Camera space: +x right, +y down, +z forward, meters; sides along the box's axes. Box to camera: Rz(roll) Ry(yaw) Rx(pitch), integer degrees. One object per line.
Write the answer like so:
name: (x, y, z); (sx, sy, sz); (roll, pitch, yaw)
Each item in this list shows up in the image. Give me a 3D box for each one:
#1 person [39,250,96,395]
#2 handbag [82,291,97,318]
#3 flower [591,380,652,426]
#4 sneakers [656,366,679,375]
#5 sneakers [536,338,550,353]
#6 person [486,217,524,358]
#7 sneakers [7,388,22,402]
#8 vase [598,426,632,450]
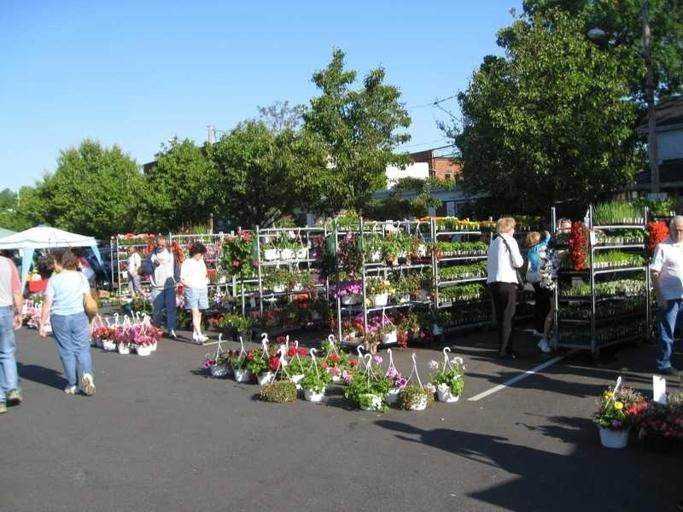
person: (-4.489, 1.071, 10.483); (0.852, 2.409, 0.838); (-5, 7, -28)
handbag: (-4.163, 0.771, 10.454); (0.132, 0.402, 0.224); (-4, -21, -27)
flower: (3.514, 1.874, 8.158); (0.561, 0.586, 0.779); (-1, 8, 4)
sneakers: (5.245, 1.838, 10.193); (0.270, 0.128, 0.155); (-4, 1, 24)
sneakers: (3.678, 1.583, 11.496); (0.203, 0.260, 0.195); (-1, 7, 8)
person: (2.953, 0.723, 11.519); (0.586, 2.240, 0.430); (0, 6, 15)
sneakers: (-5.216, 2.221, 10.170); (0.123, 0.182, 0.372); (-1, -3, -10)
vase: (3.375, 2.239, 7.850); (0.250, 0.197, 0.260); (1, -1, -28)
